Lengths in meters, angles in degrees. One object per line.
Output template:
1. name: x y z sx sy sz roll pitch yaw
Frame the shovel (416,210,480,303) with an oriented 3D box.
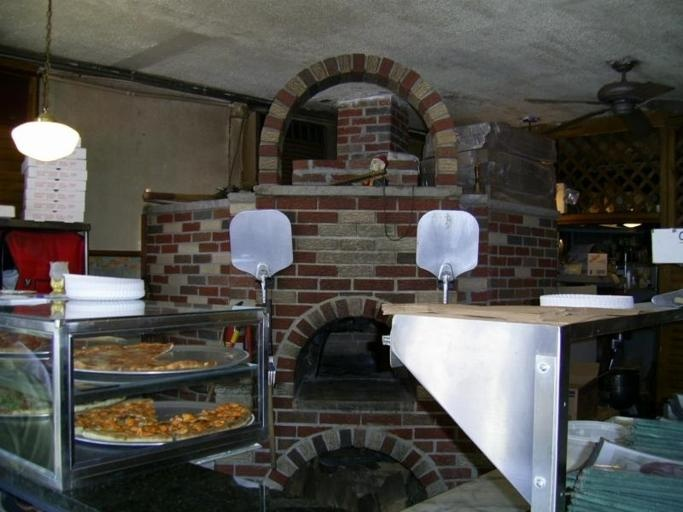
1. shovel: 0.570 0.004 3.178 0.376 0.472 0.140 4 1 18

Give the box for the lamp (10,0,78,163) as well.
1. lamp: -1.988 -1.194 4.031 0.365 0.890 1.472 1 0 -25

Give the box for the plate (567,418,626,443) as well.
1. plate: 0.700 0.479 1.615 0.114 0.022 0.058 0 3 10

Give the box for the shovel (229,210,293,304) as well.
1. shovel: -0.458 -0.040 3.307 0.366 0.542 0.109 -1 25 -2

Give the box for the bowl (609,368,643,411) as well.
1. bowl: 2.136 1.019 4.439 0.158 0.338 0.375 1 0 44
